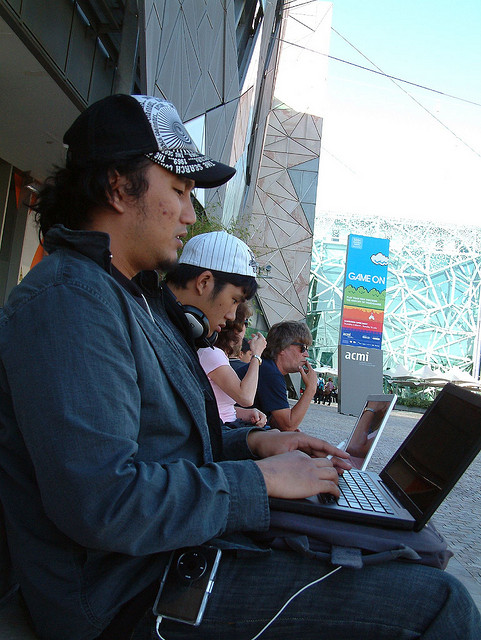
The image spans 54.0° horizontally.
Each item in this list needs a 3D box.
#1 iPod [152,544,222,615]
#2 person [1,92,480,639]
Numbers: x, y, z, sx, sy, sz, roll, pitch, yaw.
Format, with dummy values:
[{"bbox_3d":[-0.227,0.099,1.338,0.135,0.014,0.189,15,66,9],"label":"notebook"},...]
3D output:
[{"bbox_3d":[-0.101,0.469,0.856,0.097,0.123,0.028,23,-27,-16],"label":"iPod"},{"bbox_3d":[-0.236,0.176,1.520,1.309,1.451,0.869,1,-6,-11],"label":"person"}]
